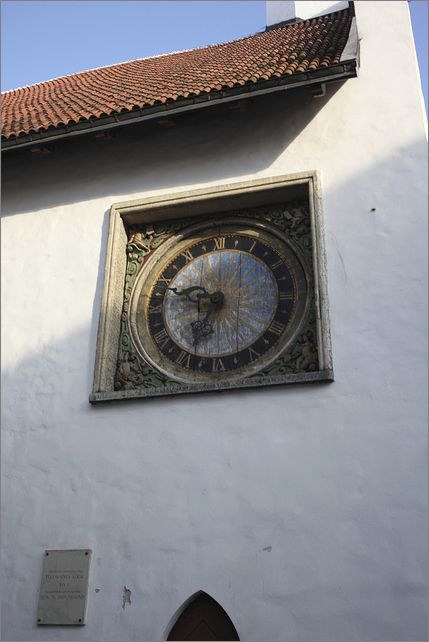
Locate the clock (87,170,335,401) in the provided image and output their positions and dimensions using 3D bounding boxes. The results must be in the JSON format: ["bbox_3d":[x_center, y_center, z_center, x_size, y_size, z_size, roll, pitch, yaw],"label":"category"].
[{"bbox_3d":[0.030,-0.237,6.285,2.084,1.876,0.185,-6,-31,15],"label":"clock"}]
